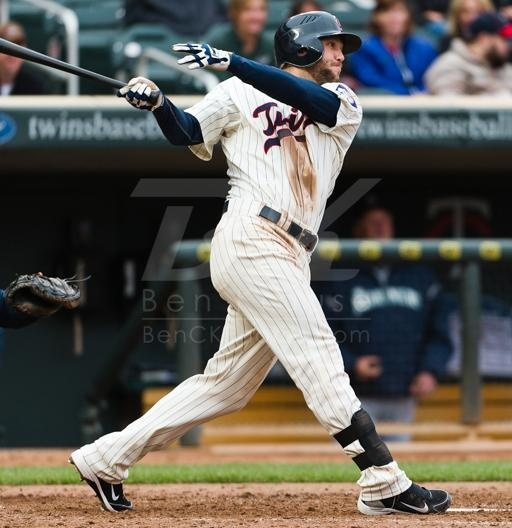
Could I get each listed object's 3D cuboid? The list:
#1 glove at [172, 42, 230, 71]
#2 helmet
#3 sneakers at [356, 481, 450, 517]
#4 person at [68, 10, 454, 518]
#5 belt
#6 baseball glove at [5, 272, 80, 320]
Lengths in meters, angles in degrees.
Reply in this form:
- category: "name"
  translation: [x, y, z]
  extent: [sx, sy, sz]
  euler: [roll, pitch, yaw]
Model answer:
- category: "glove"
  translation: [-0.172, -0.651, 3.461]
  extent: [0.158, 0.081, 0.050]
  euler: [-5, -15, -11]
- category: "helmet"
  translation: [0.237, -0.761, 3.665]
  extent: [0.326, 0.163, 0.225]
  euler: [-1, 11, 10]
- category: "sneakers"
  translation: [0.495, 0.748, 3.584]
  extent: [0.333, 0.109, 0.107]
  euler: [-2, 2, -6]
- category: "person"
  translation: [0.048, -0.005, 3.635]
  extent: [1.145, 1.635, 0.483]
  euler: [-1, 11, 8]
- category: "belt"
  translation: [0.051, -0.115, 3.561]
  extent: [0.217, 0.049, 0.189]
  euler: [29, -10, -22]
- category: "baseball glove"
  translation: [-0.682, 0.089, 3.503]
  extent: [0.199, 0.082, 0.164]
  euler: [18, 14, 43]
